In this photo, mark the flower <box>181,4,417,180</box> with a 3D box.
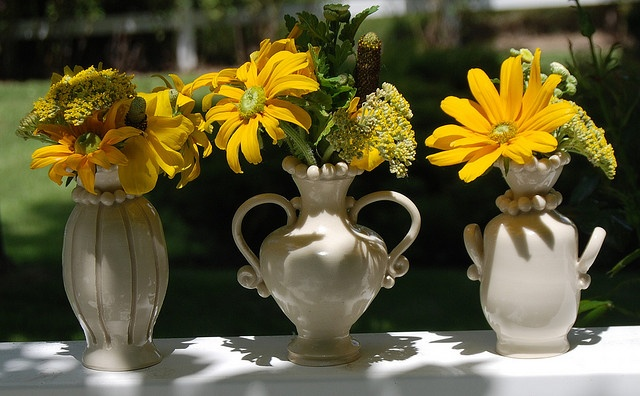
[{"bbox_3d":[-0.106,-0.399,3.295,0.770,0.700,0.754,-3,1,-21],"label":"flower"}]

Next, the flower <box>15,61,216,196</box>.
[{"bbox_3d":[-0.801,-0.289,3.143,0.607,0.358,0.594,5,33,7],"label":"flower"}]

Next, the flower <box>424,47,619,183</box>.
[{"bbox_3d":[0.812,-0.330,3.132,0.754,0.534,0.304,-6,13,-19],"label":"flower"}]
